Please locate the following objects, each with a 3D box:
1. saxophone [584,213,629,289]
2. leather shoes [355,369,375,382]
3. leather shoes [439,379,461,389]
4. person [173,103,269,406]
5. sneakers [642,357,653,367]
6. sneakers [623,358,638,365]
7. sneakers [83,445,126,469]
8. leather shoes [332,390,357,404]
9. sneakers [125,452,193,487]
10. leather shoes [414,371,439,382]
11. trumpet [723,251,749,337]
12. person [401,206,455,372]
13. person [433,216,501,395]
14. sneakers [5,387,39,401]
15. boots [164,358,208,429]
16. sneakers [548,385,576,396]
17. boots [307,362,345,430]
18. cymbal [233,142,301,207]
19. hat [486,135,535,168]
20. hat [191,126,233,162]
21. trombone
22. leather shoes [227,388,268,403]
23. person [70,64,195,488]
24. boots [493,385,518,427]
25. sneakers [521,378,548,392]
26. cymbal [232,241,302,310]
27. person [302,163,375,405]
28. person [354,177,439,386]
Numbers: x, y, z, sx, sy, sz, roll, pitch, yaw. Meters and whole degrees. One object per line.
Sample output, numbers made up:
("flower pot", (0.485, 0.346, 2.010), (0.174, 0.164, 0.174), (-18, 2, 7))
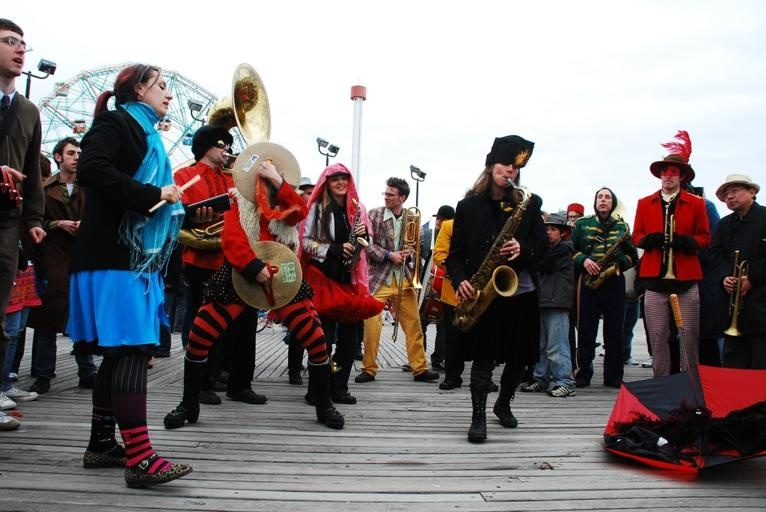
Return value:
("saxophone", (2.622, -0.025, 7.304), (0.284, 0.903, 0.340), (43, 0, -31))
("leather shoes", (-0.221, 1.384, 7.226), (0.107, 0.090, 0.232), (-8, -22, 29))
("leather shoes", (0.736, 1.422, 6.955), (0.271, 0.102, 0.089), (10, -9, -33))
("person", (-1.460, 0.049, 5.819), (0.943, 2.739, 0.992), (1, -2, -38))
("sneakers", (3.788, 1.524, 9.020), (0.127, 0.157, 0.387), (-5, -9, 33))
("sneakers", (3.594, 1.530, 9.077), (0.235, 0.093, 0.085), (-1, 2, 3))
("sneakers", (-1.956, 1.418, 4.458), (0.294, 0.119, 0.142), (0, -8, -12))
("leather shoes", (-0.390, 1.418, 6.252), (0.291, 0.113, 0.098), (0, -5, -1))
("sneakers", (-1.508, 1.441, 4.275), (0.435, 0.195, 0.199), (-6, -3, -2))
("leather shoes", (0.525, 1.416, 7.397), (0.334, 0.140, 0.121), (1, -4, -4))
("trumpet", (3.394, 0.379, 6.077), (0.155, 0.925, 0.172), (6, -2, -16))
("person", (0.185, 0.280, 7.297), (0.970, 2.394, 0.806), (0, 2, -5))
("person", (0.864, 0.518, 6.832), (0.671, 1.827, 0.725), (2, 0, 5))
("sneakers", (-3.307, 1.269, 5.766), (0.266, 0.104, 0.095), (2, 0, -7))
("boots", (-1.677, 1.172, 5.230), (0.154, 0.474, 0.342), (6, 6, 40))
("sneakers", (1.936, 1.459, 6.803), (0.280, 0.108, 0.117), (3, -8, -16))
("boots", (-0.454, 1.221, 5.443), (0.237, 0.510, 0.521), (-6, 8, -20))
("cymbal", (-0.965, -0.700, 5.275), (0.598, 0.518, 0.126), (-1, 6, -35))
("hat", (1.073, -0.892, 5.354), (0.380, 0.267, 0.141), (2, 5, 7))
("hat", (-1.570, -1.031, 5.757), (0.367, 0.311, 0.210), (1, 5, -14))
("trombone", (0.281, 0.205, 7.322), (0.360, 1.476, 0.379), (9, -2, -6))
("leather shoes", (-1.321, 1.365, 6.121), (0.351, 0.110, 0.142), (2, 0, 20))
("person", (-1.735, 0.093, 4.335), (0.823, 2.871, 0.501), (3, 5, 13))
("boots", (1.108, 1.349, 5.649), (0.151, 0.327, 0.336), (3, 13, -17))
("sneakers", (1.706, 1.455, 7.031), (0.318, 0.124, 0.122), (2, -7, -14))
("cymbal", (-0.968, 0.168, 5.240), (0.586, 0.587, 0.202), (1, 5, -6))
("person", (-0.421, 0.206, 6.117), (0.762, 2.511, 0.836), (2, 0, 5))
("person", (0.177, 0.278, 7.434), (1.025, 2.321, 1.044), (2, -1, -8))
